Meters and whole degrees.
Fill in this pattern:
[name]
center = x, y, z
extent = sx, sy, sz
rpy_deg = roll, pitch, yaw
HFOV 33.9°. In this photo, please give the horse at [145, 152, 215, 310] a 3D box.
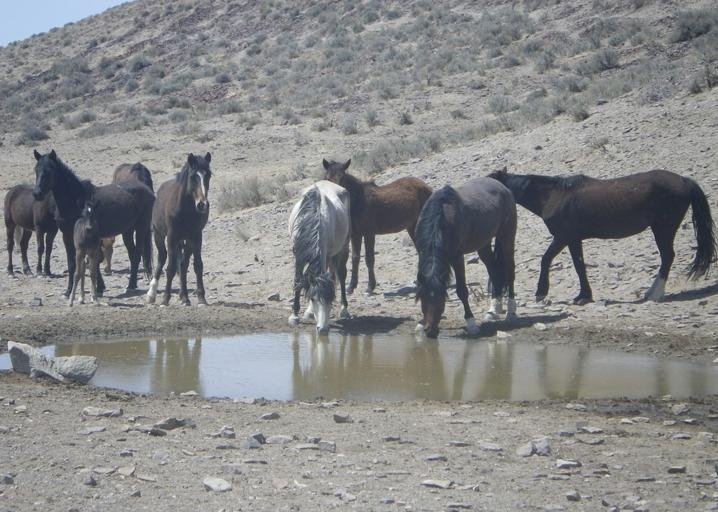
[horse]
center = -5.740, -0.786, 37.494
extent = 1.379, 4.829, 2.890
rpy_deg = -1, -2, -39
